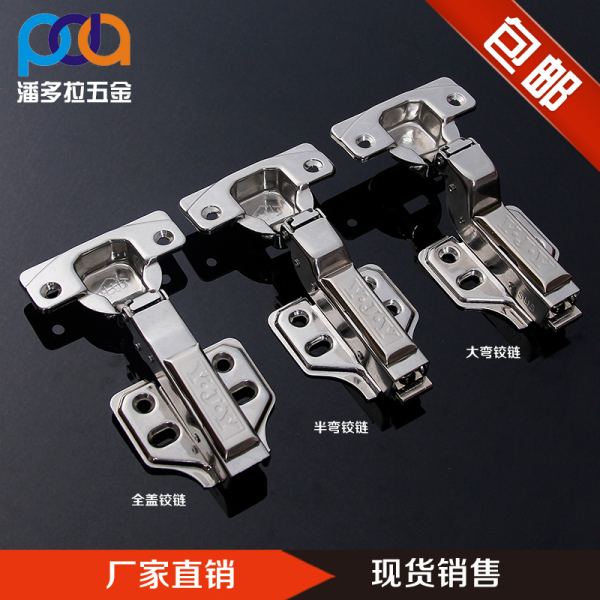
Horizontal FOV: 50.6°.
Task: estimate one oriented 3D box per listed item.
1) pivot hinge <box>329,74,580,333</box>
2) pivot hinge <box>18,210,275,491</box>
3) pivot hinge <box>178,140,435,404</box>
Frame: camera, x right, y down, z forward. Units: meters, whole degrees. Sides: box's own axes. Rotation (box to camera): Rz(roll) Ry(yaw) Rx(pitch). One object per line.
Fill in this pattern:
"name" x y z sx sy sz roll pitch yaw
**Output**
"pivot hinge" 0.410 -0.211 1.875 0.491 0.237 0.815 -23 55 -17
"pivot hinge" -0.323 0.114 1.436 0.445 0.141 0.690 -23 59 -27
"pivot hinge" 0.021 -0.012 1.690 0.451 0.174 0.747 -23 54 -21
